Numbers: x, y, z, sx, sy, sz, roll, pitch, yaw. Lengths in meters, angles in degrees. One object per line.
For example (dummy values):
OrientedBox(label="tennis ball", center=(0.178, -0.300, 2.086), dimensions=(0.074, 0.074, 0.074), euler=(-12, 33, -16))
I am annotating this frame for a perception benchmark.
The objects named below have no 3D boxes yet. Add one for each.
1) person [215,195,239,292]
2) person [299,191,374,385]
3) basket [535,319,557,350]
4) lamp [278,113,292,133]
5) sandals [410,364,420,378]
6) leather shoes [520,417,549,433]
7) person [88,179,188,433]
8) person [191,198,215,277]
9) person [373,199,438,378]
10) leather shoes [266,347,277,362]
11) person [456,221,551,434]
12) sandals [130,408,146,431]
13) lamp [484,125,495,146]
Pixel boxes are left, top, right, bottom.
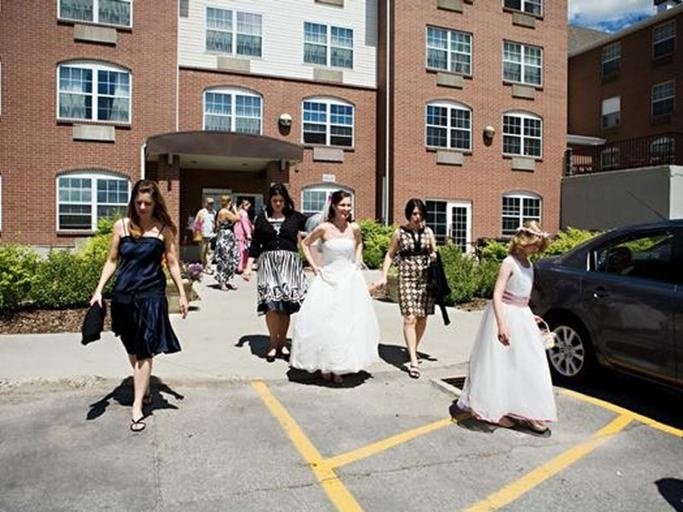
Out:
OrientedBox(label="person", center=(-2.768, -0.303, 14.382), dimensions=(0.581, 2.206, 1.357), euler=(-2, 12, -12))
OrientedBox(label="person", center=(-0.082, 0.457, 8.030), dimensions=(1.179, 2.572, 1.032), euler=(0, 11, -5))
OrientedBox(label="basket", center=(2.426, 0.941, 7.022), dimensions=(0.152, 0.438, 0.313), euler=(-21, -10, 17))
OrientedBox(label="lamp", center=(-2.054, -4.875, 21.850), dimensions=(0.517, 0.678, 0.487), euler=(-2, 12, -14))
OrientedBox(label="sandals", center=(1.025, 1.628, 8.294), dimensions=(0.135, 0.136, 0.409), euler=(0, -4, 2))
OrientedBox(label="leather shoes", center=(2.196, 1.932, 6.701), dimensions=(0.148, 0.090, 0.230), euler=(-8, 11, -39))
OrientedBox(label="person", center=(-2.284, 0.510, 6.829), dimensions=(0.942, 2.683, 0.907), euler=(-5, 13, -25))
OrientedBox(label="person", center=(-3.924, -0.584, 16.993), dimensions=(0.615, 2.168, 1.587), euler=(-2, 12, -13))
OrientedBox(label="person", center=(0.990, 0.439, 8.613), dimensions=(0.730, 2.498, 0.970), euler=(4, 12, 15))
OrientedBox(label="leather shoes", center=(-1.058, 1.523, 8.991), dimensions=(0.076, 0.121, 0.290), euler=(5, -39, -10))
OrientedBox(label="person", center=(1.938, 0.743, 6.604), dimensions=(0.942, 2.153, 0.596), euler=(4, 12, 15))
OrientedBox(label="sandals", center=(-2.278, 1.850, 6.636), dimensions=(0.165, 0.127, 0.467), euler=(2, 2, -18))
OrientedBox(label="lamp", center=(6.099, -4.897, 24.232), dimensions=(0.517, 0.781, 0.465), euler=(0, 12, -3))
